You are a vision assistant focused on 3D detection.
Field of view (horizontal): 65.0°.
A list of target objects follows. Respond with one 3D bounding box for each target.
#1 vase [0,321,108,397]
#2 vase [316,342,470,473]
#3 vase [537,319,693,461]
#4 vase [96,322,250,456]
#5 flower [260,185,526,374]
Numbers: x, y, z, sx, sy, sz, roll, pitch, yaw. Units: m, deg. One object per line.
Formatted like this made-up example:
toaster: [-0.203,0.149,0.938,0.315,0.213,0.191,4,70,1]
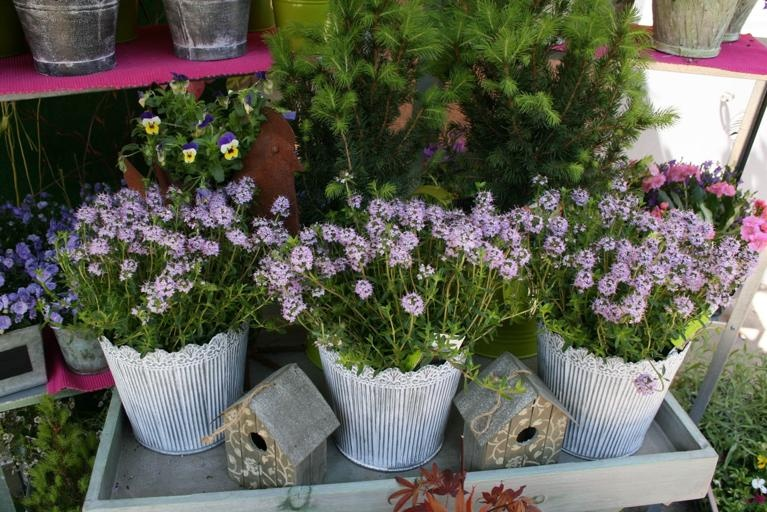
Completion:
vase: [-0.915,0.233,1.746,0.174,0.178,0.231,-7,39,-16]
vase: [0.022,0.420,1.585,0.331,0.285,0.342,4,24,7]
vase: [0.633,0.348,1.769,0.372,0.347,0.357,6,21,13]
vase: [-0.576,0.336,1.739,0.347,0.299,0.326,-1,23,-9]
flower: [0.038,0.115,1.627,0.727,0.553,0.397,5,30,2]
